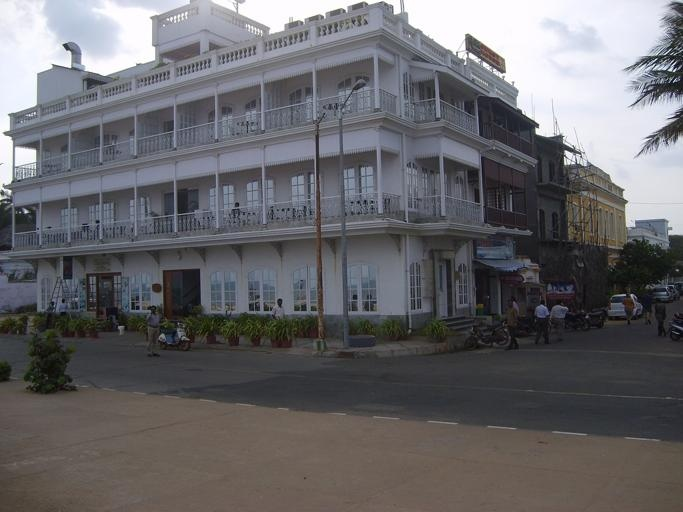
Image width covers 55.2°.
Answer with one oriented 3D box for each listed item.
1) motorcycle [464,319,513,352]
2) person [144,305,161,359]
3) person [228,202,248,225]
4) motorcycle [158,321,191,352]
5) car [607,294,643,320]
[{"bbox_3d":[6.250,3.333,28.069,2.034,1.343,1.053,1,-13,-14],"label":"motorcycle"},{"bbox_3d":[-7.248,2.867,25.201,0.422,1.923,0.580,1,-6,-16],"label":"person"},{"bbox_3d":[-4.957,-1.937,31.261,0.582,0.875,1.207,3,-7,-30],"label":"person"},{"bbox_3d":[-6.986,3.332,27.675,1.576,1.086,0.817,-6,-7,40],"label":"motorcycle"},{"bbox_3d":[19.380,3.492,44.661,1.471,1.444,2.940,-2,4,32],"label":"car"}]
